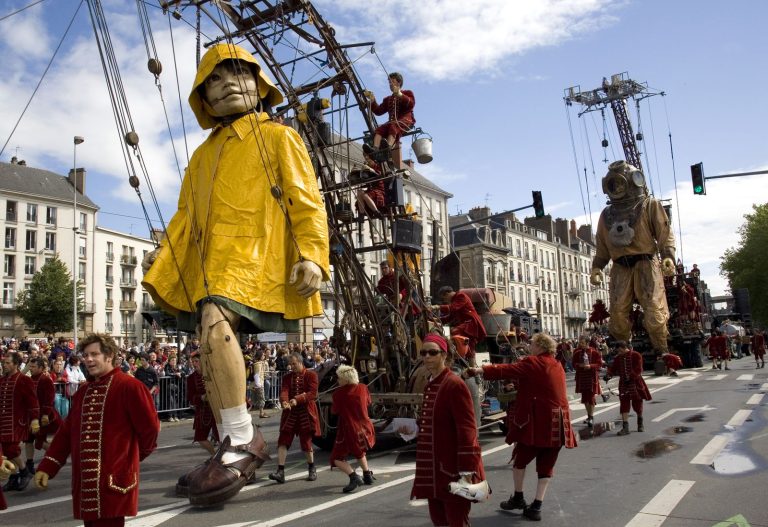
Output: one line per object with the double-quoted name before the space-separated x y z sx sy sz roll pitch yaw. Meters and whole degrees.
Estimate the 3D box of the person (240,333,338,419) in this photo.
"person" -2.272 2.606 16.046 1.506 0.903 3.719 -2 1 -12

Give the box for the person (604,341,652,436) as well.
"person" 4.839 2.398 13.752 0.716 1.701 1.563 -7 -7 19

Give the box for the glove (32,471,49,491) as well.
"glove" -3.566 2.258 7.238 0.118 0.210 0.268 -1 -8 -29

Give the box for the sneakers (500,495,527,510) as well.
"sneakers" 1.646 3.040 8.840 0.399 0.178 0.162 -8 -4 34

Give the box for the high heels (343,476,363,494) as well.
"high heels" -0.476 3.125 9.923 0.237 0.228 0.420 -8 -7 27

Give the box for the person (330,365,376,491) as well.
"person" -0.492 2.391 10.224 0.446 1.751 0.752 -11 -9 42

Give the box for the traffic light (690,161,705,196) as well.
"traffic light" 9.450 -2.551 20.934 0.329 0.920 0.191 -6 -7 10

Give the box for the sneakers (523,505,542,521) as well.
"sneakers" 1.833 3.055 8.641 0.235 0.238 0.223 -5 -7 7
